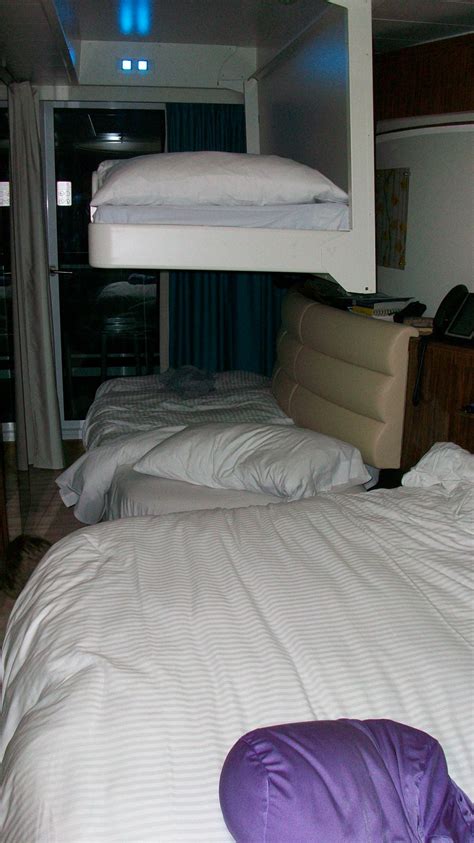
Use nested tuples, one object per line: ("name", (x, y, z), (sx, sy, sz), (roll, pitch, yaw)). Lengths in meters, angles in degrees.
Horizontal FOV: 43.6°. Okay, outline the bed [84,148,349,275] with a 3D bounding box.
("bed", (-0.055, -0.692, 1.929), (0.827, 0.397, 0.232), (-1, 9, -7))
